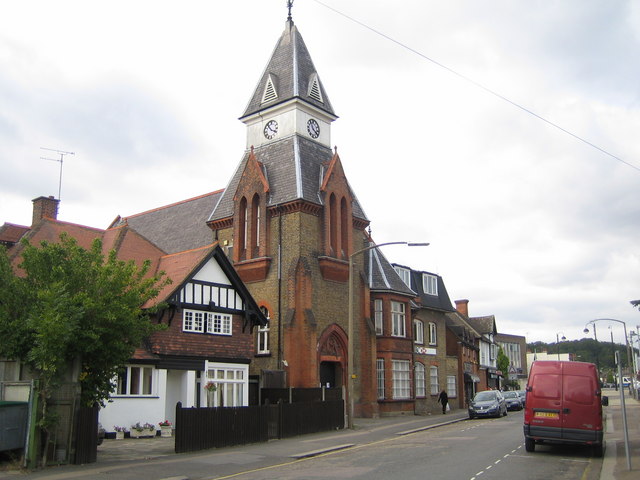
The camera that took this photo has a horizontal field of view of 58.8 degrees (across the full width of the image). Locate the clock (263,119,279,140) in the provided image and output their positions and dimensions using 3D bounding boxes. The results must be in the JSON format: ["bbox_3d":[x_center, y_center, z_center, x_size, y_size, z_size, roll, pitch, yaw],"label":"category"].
[{"bbox_3d":[-3.711,-8.310,42.576,1.421,1.648,0.113,-18,-23,36],"label":"clock"}]

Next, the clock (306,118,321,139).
[{"bbox_3d":[-0.596,-8.342,42.540,0.104,1.814,1.686,-10,-4,29],"label":"clock"}]

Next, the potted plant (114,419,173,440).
[{"bbox_3d":[-8.662,9.312,28.045,2.708,0.810,0.791,13,-25,-37],"label":"potted plant"}]
